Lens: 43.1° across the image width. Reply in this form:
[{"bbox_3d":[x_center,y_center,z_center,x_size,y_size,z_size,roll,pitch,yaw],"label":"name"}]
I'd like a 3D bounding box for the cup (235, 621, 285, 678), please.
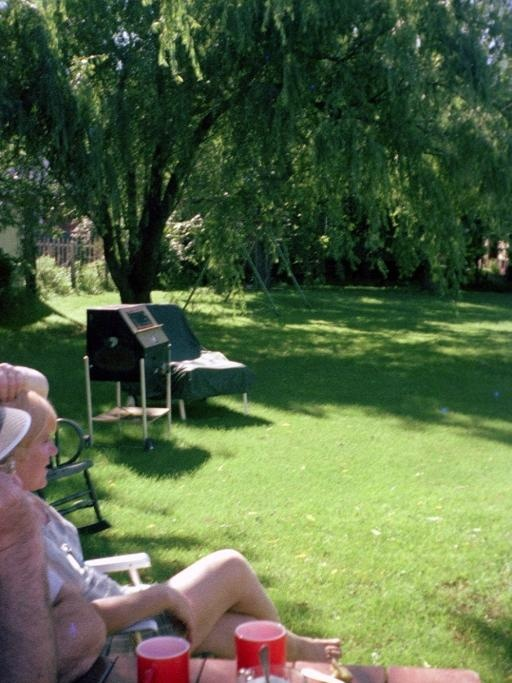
[{"bbox_3d":[0.008,0.533,1.122,0.092,0.096,0.102,-1,-2,1],"label":"cup"}]

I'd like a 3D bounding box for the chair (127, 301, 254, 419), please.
[{"bbox_3d":[-0.779,0.170,7.010,0.912,0.884,1.394,-5,10,-38],"label":"chair"}]

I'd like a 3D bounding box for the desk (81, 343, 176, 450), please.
[{"bbox_3d":[-1.164,0.486,5.949,0.799,0.770,0.773,-4,4,-22],"label":"desk"}]

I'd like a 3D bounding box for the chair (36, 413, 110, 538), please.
[{"bbox_3d":[-1.105,0.805,3.778,0.490,0.577,0.362,-2,32,-6],"label":"chair"}]
